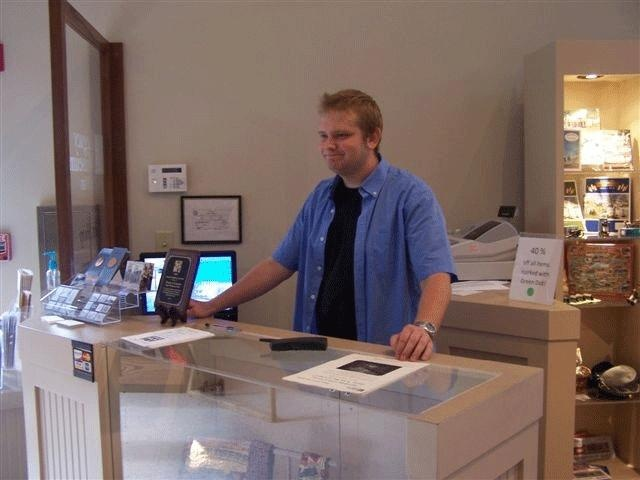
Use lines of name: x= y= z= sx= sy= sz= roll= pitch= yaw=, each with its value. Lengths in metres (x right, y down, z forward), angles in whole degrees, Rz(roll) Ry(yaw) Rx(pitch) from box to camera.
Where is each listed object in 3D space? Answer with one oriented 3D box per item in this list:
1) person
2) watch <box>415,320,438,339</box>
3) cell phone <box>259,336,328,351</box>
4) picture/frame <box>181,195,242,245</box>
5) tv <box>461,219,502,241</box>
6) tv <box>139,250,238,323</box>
person: x=0.077 y=-0.044 z=2.104 sx=1.194 sy=1.102 sz=0.693 roll=1 pitch=0 yaw=40
watch: x=0.332 y=0.275 z=1.585 sx=0.055 sy=0.021 sz=0.054 roll=9 pitch=31 yaw=-38
cell phone: x=-0.062 y=0.323 z=1.601 sx=0.123 sy=0.029 sz=0.074 roll=0 pitch=-2 yaw=-6
picture/frame: x=-0.707 y=-0.143 z=3.265 sx=0.298 sy=0.250 sz=0.030 roll=2 pitch=2 yaw=-6
tv: x=0.903 y=-0.062 z=2.883 sx=0.206 sy=0.082 sz=0.223 roll=0 pitch=12 yaw=5
tv: x=-0.613 y=0.216 z=2.338 sx=0.411 sy=0.308 sz=0.040 roll=5 pitch=2 yaw=-7
